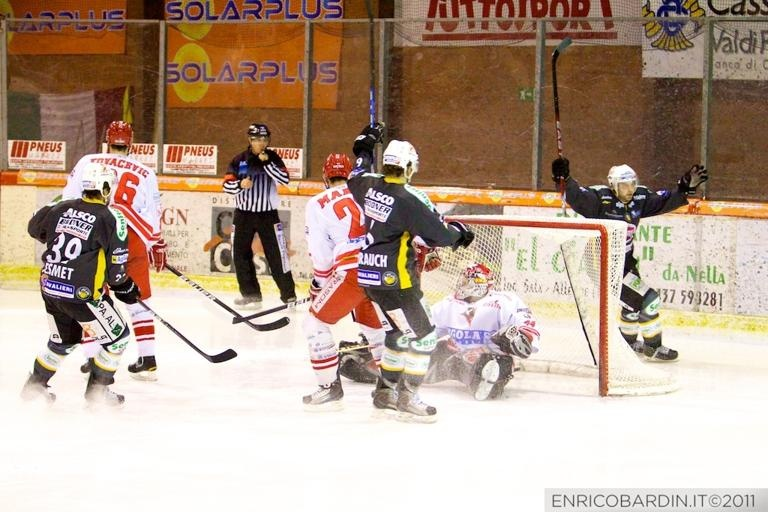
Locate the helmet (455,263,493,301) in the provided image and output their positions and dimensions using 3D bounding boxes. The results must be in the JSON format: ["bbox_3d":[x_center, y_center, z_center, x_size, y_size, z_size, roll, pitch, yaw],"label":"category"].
[{"bbox_3d":[0.701,0.195,7.290,0.319,0.295,0.254,0,1,-6],"label":"helmet"}]

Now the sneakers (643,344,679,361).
[{"bbox_3d":[2.387,0.836,8.142,0.315,0.145,0.116,-2,5,9],"label":"sneakers"}]

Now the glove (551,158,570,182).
[{"bbox_3d":[1.496,-0.716,8.002,0.174,0.288,0.210,1,1,10],"label":"glove"}]

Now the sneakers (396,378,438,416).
[{"bbox_3d":[0.209,0.980,6.498,0.305,0.220,0.110,6,-4,32],"label":"sneakers"}]

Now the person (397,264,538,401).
[{"bbox_3d":[0.658,0.562,7.274,0.582,0.972,1.114,0,0,-45],"label":"person"}]

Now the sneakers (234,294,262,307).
[{"bbox_3d":[-1.396,0.459,9.712,0.300,0.129,0.112,1,6,-1],"label":"sneakers"}]

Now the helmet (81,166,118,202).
[{"bbox_3d":[-2.016,-0.503,6.567,0.220,0.260,0.273,5,-6,-3],"label":"helmet"}]

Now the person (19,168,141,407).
[{"bbox_3d":[-2.143,0.199,6.598,0.717,1.673,0.370,0,12,-3],"label":"person"}]

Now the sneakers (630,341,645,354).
[{"bbox_3d":[2.212,0.792,8.198,0.116,0.116,0.039,-9,-29,13],"label":"sneakers"}]

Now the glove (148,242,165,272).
[{"bbox_3d":[-1.854,0.007,7.675,0.142,0.186,0.110,2,12,-1],"label":"glove"}]

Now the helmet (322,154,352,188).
[{"bbox_3d":[-0.358,-0.666,7.409,0.232,0.290,0.301,-2,-5,1],"label":"helmet"}]

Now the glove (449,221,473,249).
[{"bbox_3d":[0.544,-0.140,6.439,0.152,0.192,0.252,5,13,22],"label":"glove"}]

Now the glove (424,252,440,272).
[{"bbox_3d":[0.334,0.030,6.941,0.116,0.154,0.050,8,8,-29],"label":"glove"}]

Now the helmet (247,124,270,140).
[{"bbox_3d":[-1.260,-1.249,9.392,0.160,0.121,0.214,-1,-1,-11],"label":"helmet"}]

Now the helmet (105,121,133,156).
[{"bbox_3d":[-2.087,-0.924,7.424,0.213,0.282,0.280,3,2,-19],"label":"helmet"}]

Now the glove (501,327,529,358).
[{"bbox_3d":[0.990,0.638,6.986,0.214,0.217,0.089,2,12,6],"label":"glove"}]

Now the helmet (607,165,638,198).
[{"bbox_3d":[2.043,-0.632,8.062,0.225,0.277,0.284,-7,12,-12],"label":"helmet"}]

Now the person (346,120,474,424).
[{"bbox_3d":[0.143,0.159,6.472,0.829,1.851,0.432,3,12,10],"label":"person"}]
